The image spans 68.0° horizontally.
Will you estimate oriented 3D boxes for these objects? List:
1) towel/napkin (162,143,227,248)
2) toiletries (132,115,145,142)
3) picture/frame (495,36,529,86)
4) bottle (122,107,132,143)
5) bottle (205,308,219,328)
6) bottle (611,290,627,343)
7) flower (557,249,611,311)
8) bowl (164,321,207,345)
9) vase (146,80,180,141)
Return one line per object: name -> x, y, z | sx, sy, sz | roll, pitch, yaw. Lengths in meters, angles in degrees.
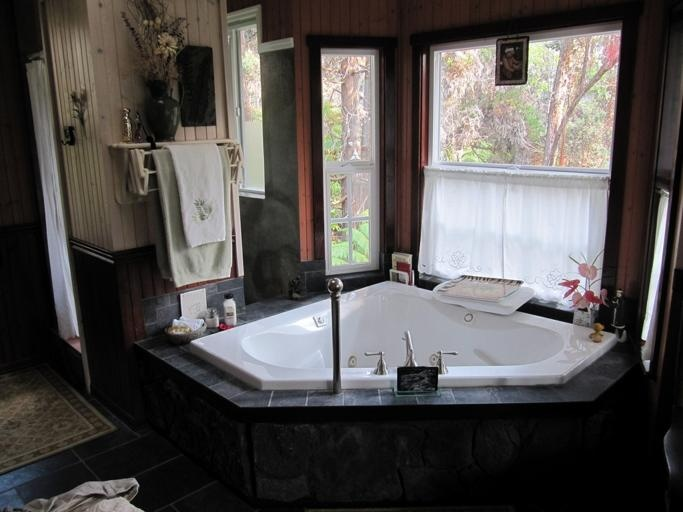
towel/napkin -> -0.904, -0.390, 3.227 | 0.417, 0.611, 0.151 | -9, 12, -38
toiletries -> -1.260, -0.789, 3.123 | 0.051, 0.167, 0.091 | 5, 18, 19
picture/frame -> 1.204, -1.368, 3.536 | 0.276, 0.390, 0.035 | 13, 20, 43
bottle -> -1.302, -0.788, 3.064 | 0.043, 0.199, 0.126 | -4, 17, -11
bottle -> -0.895, 0.438, 3.550 | 0.102, 0.128, 0.106 | 0, 1, 0
bottle -> 1.789, 0.374, 3.235 | 0.097, 0.306, 0.165 | 7, 19, 23
flower -> 1.618, 0.169, 3.356 | 0.290, 0.415, 0.301 | 7, 19, 25
bowl -> -1.049, 0.512, 3.320 | 0.159, 0.063, 0.150 | -2, 7, 0
vase -> -1.110, -0.898, 3.161 | 0.198, 0.370, 0.193 | -11, 19, -43
